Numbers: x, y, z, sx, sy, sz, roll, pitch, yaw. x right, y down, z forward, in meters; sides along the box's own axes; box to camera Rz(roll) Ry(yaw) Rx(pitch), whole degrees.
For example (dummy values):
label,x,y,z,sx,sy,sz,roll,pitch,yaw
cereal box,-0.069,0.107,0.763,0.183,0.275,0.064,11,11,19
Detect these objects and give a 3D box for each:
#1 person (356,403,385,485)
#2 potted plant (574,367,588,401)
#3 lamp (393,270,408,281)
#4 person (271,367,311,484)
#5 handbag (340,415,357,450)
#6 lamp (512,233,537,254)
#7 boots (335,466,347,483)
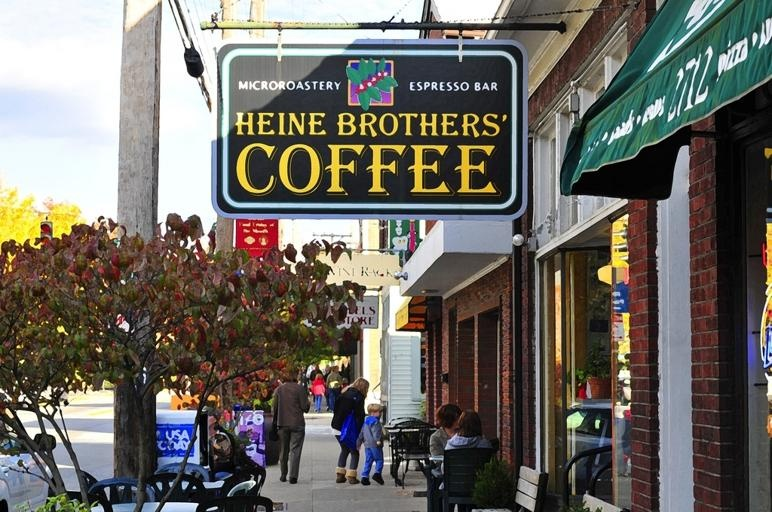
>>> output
label,x,y,z,sx,sy,sz,roll,pitch,yaw
person,-0.229,3.193,17.879,0.397,1.360,1.205,0,-10,-1
potted plant,2.368,1.559,12.741,0.239,0.470,0.275,-1,-14,7
lamp,0.336,0.403,21.666,0.219,0.157,0.190,2,-2,-13
person,-1.613,2.862,17.820,0.620,1.913,1.523,1,-10,-7
handbag,-0.569,2.914,17.481,0.294,0.562,0.478,5,-12,-29
lamp,1.820,-0.173,13.788,0.249,0.186,0.205,3,-4,-5
boots,-0.737,3.616,17.394,0.103,0.206,0.265,1,0,6
